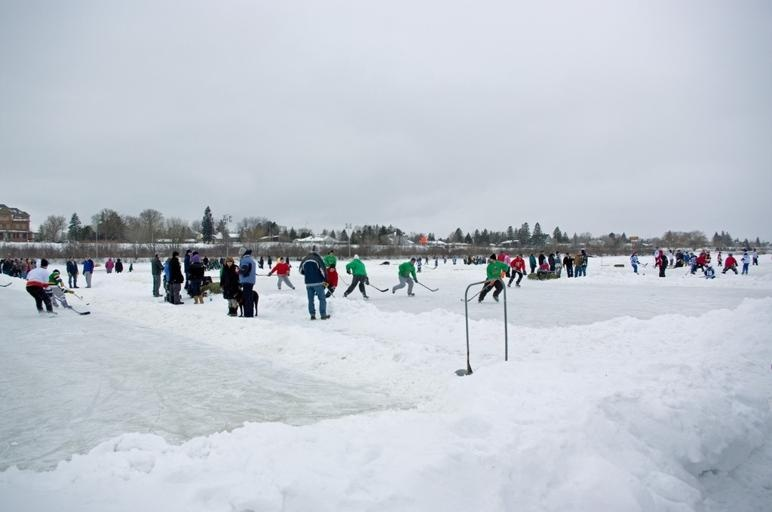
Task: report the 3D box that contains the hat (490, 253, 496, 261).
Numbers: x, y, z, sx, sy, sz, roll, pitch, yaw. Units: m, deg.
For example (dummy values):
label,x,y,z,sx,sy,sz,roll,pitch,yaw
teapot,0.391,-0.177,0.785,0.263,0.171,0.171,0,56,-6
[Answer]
label,x,y,z,sx,sy,sz,roll,pitch,yaw
hat,3.622,0.003,21.093,0.222,0.241,0.235,2,-4,13

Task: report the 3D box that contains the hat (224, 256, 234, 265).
label,x,y,z,sx,sy,sz,roll,pitch,yaw
hat,-4.553,0.134,18.279,0.280,0.347,0.401,0,2,6
